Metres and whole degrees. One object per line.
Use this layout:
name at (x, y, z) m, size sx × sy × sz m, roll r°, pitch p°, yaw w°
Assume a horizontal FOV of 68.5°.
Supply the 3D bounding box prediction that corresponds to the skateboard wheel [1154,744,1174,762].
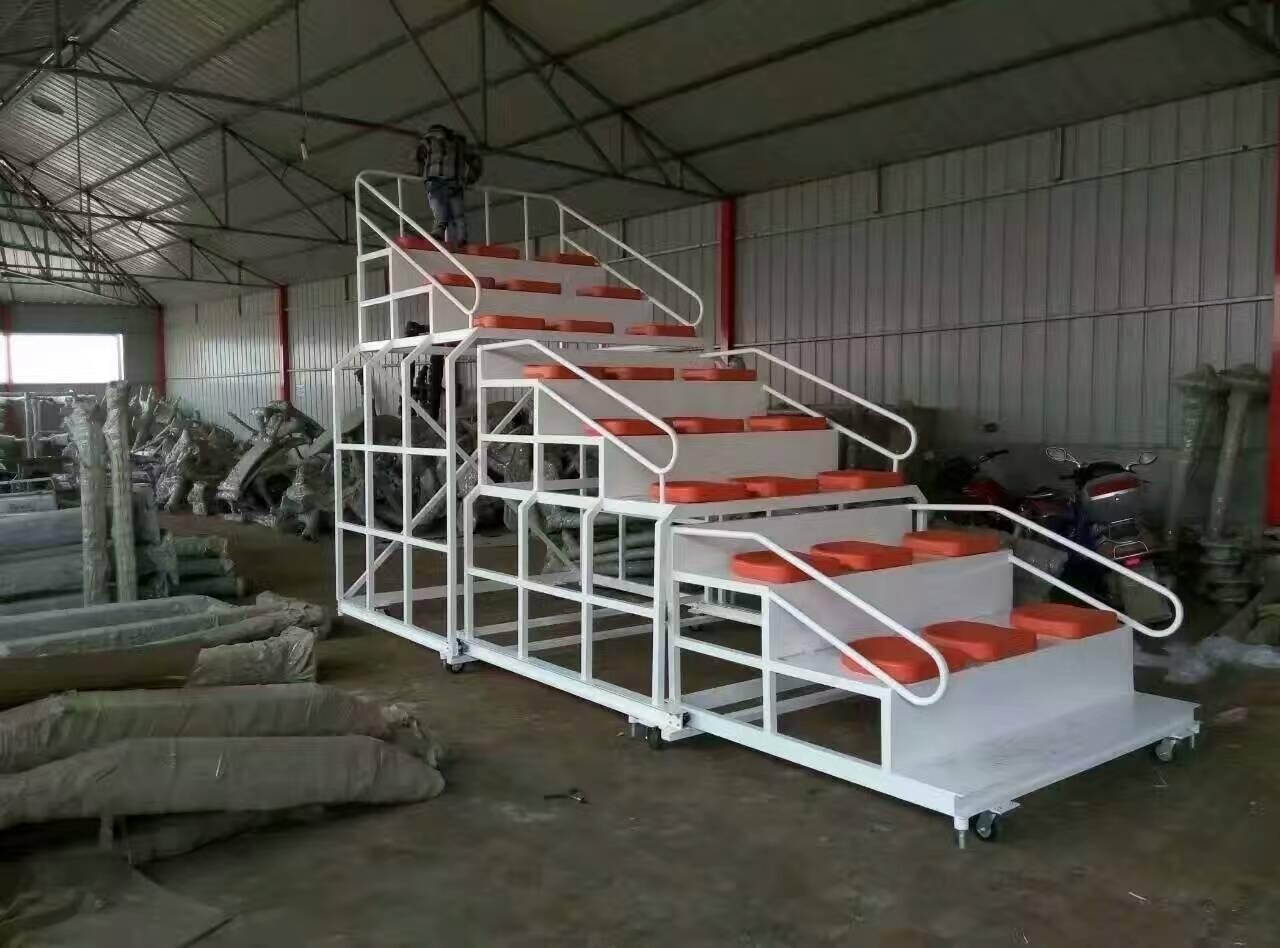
skateboard wheel at (2.896, 1.534, 5.195) m, size 0.091 × 0.032 × 0.123 m, roll -18°, pitch 1°, yaw 21°

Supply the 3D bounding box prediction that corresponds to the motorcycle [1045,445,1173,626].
motorcycle at (3.994, 0.522, 7.982) m, size 1.004 × 1.097 × 2.007 m, roll -8°, pitch 9°, yaw 9°

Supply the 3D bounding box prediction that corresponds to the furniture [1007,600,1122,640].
furniture at (2.422, 0.851, 5.382) m, size 0.561 × 0.110 × 0.334 m, roll 2°, pitch 9°, yaw 19°
